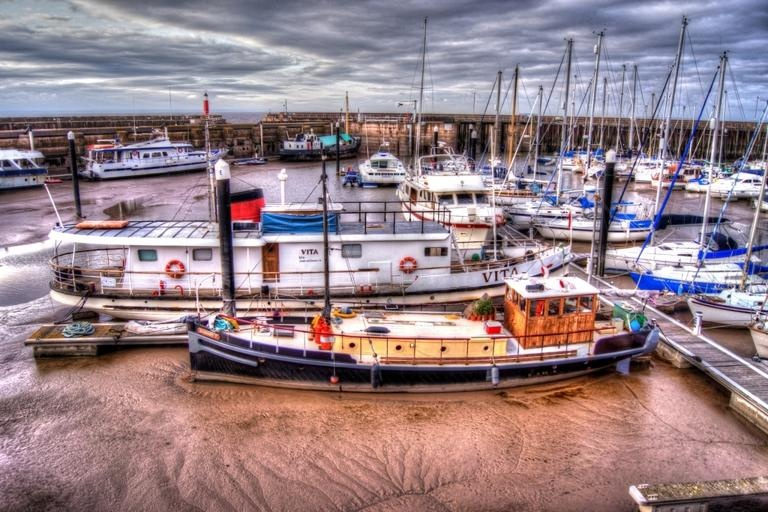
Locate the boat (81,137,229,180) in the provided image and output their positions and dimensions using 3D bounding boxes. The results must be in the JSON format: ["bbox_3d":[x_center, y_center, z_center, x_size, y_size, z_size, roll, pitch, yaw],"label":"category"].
[{"bbox_3d":[-20.460,-9.201,56.855,12.551,3.374,3.497,-12,14,-37],"label":"boat"}]

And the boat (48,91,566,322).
[{"bbox_3d":[-4.266,0.806,26.626,26.414,8.231,7.571,-2,25,-4],"label":"boat"}]

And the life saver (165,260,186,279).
[{"bbox_3d":[-7.812,0.494,23.207,0.751,0.692,0.190,1,-3,-2],"label":"life saver"}]

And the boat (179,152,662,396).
[{"bbox_3d":[1.653,1.283,21.198,15.504,6.121,4.963,1,13,-8],"label":"boat"}]

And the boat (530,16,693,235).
[{"bbox_3d":[14.818,-6.324,39.035,3.057,14.554,13.784,-15,11,30],"label":"boat"}]

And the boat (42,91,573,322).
[{"bbox_3d":[-6.283,1.065,26.675,27.249,8.233,7.625,-2,26,-4],"label":"boat"}]

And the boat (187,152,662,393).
[{"bbox_3d":[1.667,1.412,21.165,15.730,5.952,4.858,0,11,-6],"label":"boat"}]

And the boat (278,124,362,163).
[{"bbox_3d":[-6.945,-13.311,72.932,11.382,3.748,3.849,-12,16,-40],"label":"boat"}]

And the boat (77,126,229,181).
[{"bbox_3d":[-20.295,-9.185,56.555,12.276,3.518,2.913,-10,17,-29],"label":"boat"}]
